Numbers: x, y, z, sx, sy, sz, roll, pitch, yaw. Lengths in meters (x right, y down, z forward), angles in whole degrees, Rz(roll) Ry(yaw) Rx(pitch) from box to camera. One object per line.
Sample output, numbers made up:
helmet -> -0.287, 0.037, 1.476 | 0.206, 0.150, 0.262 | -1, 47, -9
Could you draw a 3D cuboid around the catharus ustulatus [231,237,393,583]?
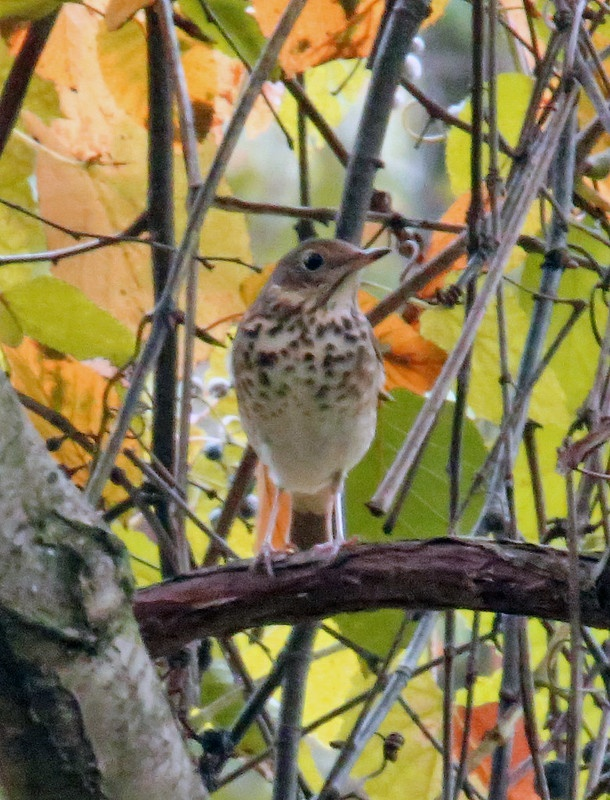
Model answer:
catharus ustulatus -> 0.005, 0.011, 3.539 | 0.255, 0.507, 0.688 | 4, -11, 1
